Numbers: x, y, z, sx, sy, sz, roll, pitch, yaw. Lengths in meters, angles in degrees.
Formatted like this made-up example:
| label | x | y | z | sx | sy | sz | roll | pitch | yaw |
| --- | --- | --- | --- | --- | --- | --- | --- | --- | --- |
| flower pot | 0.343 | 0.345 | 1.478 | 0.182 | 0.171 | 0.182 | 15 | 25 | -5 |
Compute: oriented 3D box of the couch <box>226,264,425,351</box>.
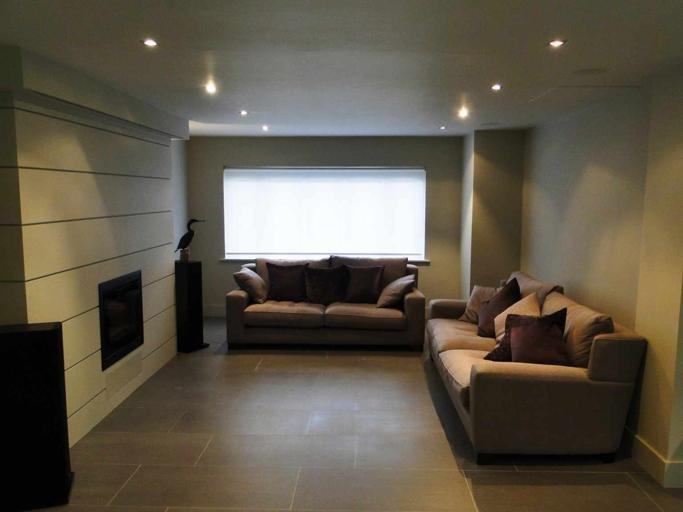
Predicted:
| label | x | y | z | sx | sy | sz | roll | pitch | yaw |
| --- | --- | --- | --- | --- | --- | --- | --- | --- | --- |
| couch | -0.164 | 0.603 | 6.643 | 2.271 | 1.057 | 1.008 | 1 | 2 | 1 |

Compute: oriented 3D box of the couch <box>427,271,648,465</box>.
| label | x | y | z | sx | sy | sz | roll | pitch | yaw |
| --- | --- | --- | --- | --- | --- | --- | --- | --- | --- |
| couch | 1.520 | 0.859 | 4.672 | 1.316 | 1.063 | 1.677 | -1 | 12 | -6 |
